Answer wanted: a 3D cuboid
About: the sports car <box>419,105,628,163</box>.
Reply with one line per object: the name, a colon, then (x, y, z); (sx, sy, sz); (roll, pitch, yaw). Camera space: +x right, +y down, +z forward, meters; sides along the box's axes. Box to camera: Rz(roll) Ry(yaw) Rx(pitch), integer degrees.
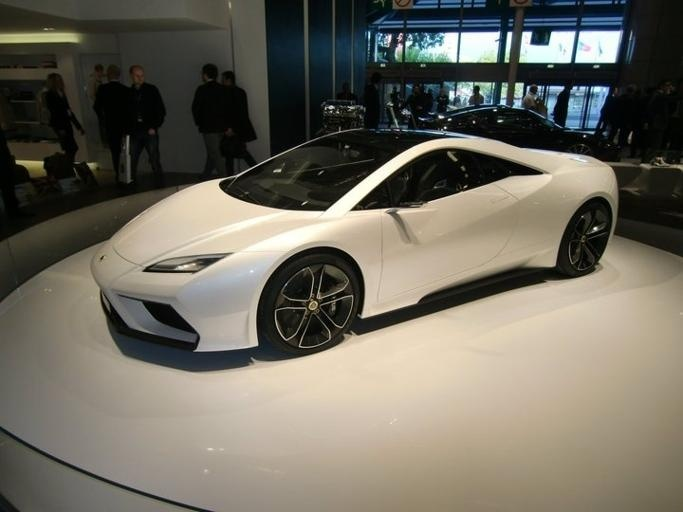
sports car: (3.550, -2.470, 8.989); (2.677, 0.908, 1.671); (0, 24, 0)
